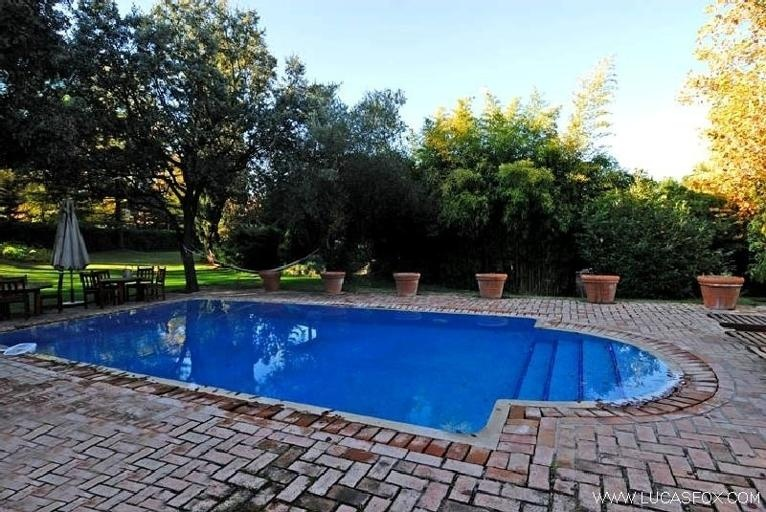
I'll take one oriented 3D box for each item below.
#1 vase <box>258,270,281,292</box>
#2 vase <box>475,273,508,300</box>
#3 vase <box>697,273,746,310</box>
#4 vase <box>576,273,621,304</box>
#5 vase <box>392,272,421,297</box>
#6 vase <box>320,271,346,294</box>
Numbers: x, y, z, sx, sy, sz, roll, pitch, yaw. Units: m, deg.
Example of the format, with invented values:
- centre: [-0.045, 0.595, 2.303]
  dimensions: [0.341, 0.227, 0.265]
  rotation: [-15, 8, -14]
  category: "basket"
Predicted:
- centre: [-3.633, 0.755, 14.455]
  dimensions: [0.663, 0.549, 0.685]
  rotation: [-1, -7, -2]
  category: "vase"
- centre: [3.074, 0.831, 13.034]
  dimensions: [0.730, 0.541, 0.754]
  rotation: [1, -10, -3]
  category: "vase"
- centre: [8.327, 0.816, 10.972]
  dimensions: [0.850, 0.745, 0.822]
  rotation: [-4, 6, -34]
  category: "vase"
- centre: [5.672, 0.833, 12.046]
  dimensions: [0.797, 0.610, 0.819]
  rotation: [2, -7, -6]
  category: "vase"
- centre: [0.705, 0.839, 13.547]
  dimensions: [0.684, 0.545, 0.708]
  rotation: [0, -7, 0]
  category: "vase"
- centre: [-1.573, 0.839, 14.028]
  dimensions: [0.649, 0.569, 0.673]
  rotation: [0, -11, -2]
  category: "vase"
